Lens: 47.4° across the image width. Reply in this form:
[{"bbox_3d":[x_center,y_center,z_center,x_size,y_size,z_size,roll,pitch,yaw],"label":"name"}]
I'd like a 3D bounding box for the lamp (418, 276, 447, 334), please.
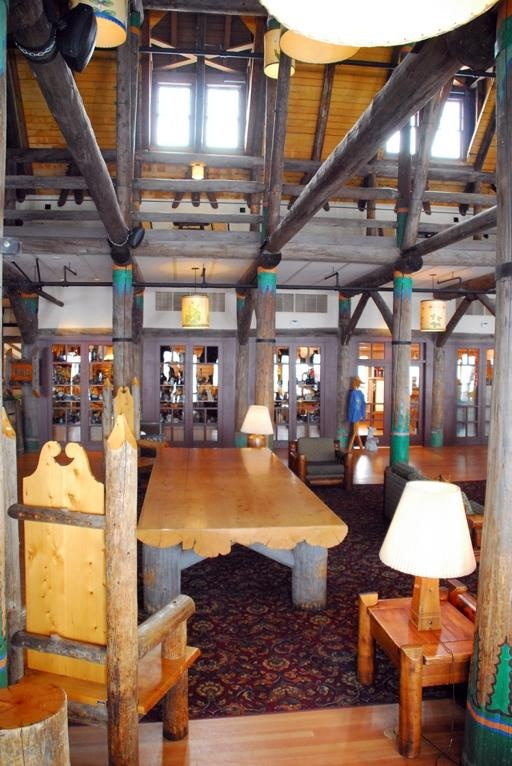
[{"bbox_3d":[2.929,-1.114,9.676,0.435,0.485,0.260,-1,1,-18],"label":"lamp"}]

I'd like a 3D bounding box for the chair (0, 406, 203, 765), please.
[{"bbox_3d":[-0.661,0.825,2.273,0.603,1.460,0.795,0,1,6],"label":"chair"}]

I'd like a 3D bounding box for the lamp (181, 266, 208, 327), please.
[{"bbox_3d":[-0.869,-1.220,8.377,0.397,0.896,0.410,-1,-3,36],"label":"lamp"}]

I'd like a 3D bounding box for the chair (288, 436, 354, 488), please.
[{"bbox_3d":[0.919,1.158,8.575,0.680,0.684,0.758,0,-3,-8],"label":"chair"}]

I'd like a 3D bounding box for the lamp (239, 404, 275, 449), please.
[{"bbox_3d":[0.000,0.521,6.785,0.323,0.527,0.769,0,1,-1],"label":"lamp"}]

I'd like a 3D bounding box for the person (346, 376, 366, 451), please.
[{"bbox_3d":[2.082,0.663,12.261,0.361,1.554,1.620,0,1,9],"label":"person"}]

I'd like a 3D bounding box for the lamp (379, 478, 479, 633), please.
[{"bbox_3d":[0.765,0.839,2.645,0.386,0.770,0.499,0,1,13],"label":"lamp"}]

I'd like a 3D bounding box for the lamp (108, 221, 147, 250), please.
[{"bbox_3d":[-1.552,-1.704,6.838,0.435,0.268,0.387,-2,2,-41],"label":"lamp"}]
